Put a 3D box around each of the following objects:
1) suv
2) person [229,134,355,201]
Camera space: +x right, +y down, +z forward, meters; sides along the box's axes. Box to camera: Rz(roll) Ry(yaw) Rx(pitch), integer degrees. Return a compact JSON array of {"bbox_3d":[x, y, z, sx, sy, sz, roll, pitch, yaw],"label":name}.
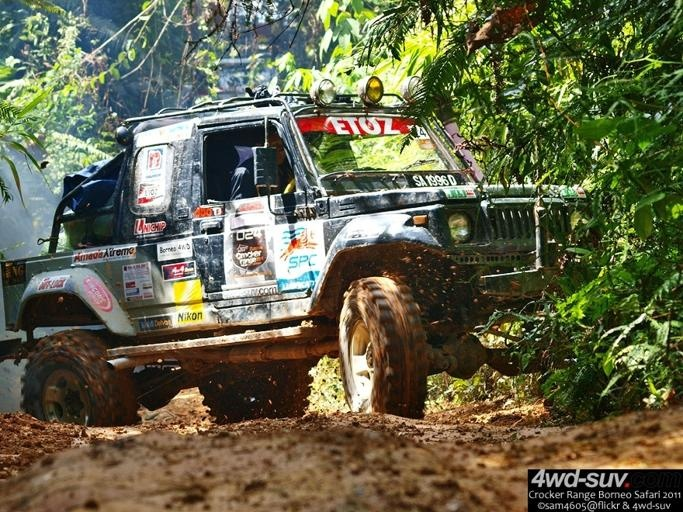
[{"bbox_3d":[-0.601,0.092,6.640,4.843,3.266,1.834,1,6,26],"label":"suv"},{"bbox_3d":[-0.514,-0.788,6.513,0.898,0.409,0.586,-19,-18,39],"label":"person"}]
